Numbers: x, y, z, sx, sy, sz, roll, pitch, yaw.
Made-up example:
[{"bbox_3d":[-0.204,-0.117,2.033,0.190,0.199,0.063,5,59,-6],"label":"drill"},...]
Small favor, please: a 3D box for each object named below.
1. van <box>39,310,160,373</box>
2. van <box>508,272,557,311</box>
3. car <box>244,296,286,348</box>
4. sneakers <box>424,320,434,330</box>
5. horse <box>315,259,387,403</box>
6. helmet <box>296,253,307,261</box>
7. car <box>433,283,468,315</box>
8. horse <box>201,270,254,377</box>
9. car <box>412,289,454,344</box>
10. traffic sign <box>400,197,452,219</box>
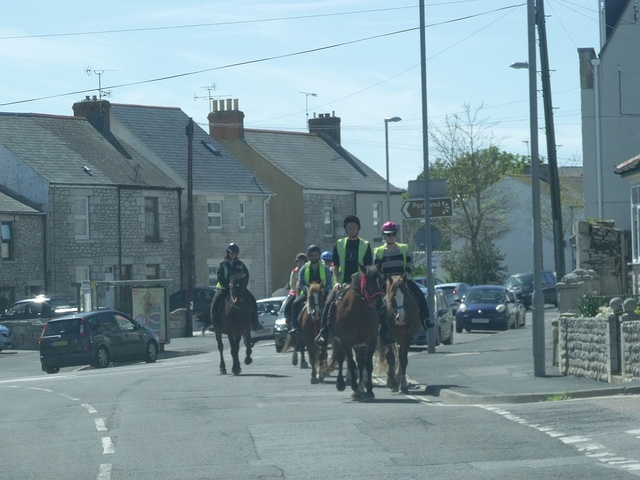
[{"bbox_3d":[-7.225,3.270,41.385,1.744,1.540,3.157,-3,3,35],"label":"van"},{"bbox_3d":[10.756,2.398,63.791,1.717,1.909,3.201,-7,-10,36],"label":"van"},{"bbox_3d":[-2.166,2.920,52.230,1.501,1.739,3.261,15,-9,1],"label":"car"},{"bbox_3d":[2.623,2.035,30.558,0.255,0.284,0.165,-3,-2,14],"label":"sneakers"},{"bbox_3d":[0.835,2.081,28.797,0.734,2.980,1.810,-2,2,-32],"label":"horse"},{"bbox_3d":[-0.487,0.473,34.392,0.248,0.151,0.188,3,-2,3],"label":"helmet"},{"bbox_3d":[6.231,2.827,59.421,1.171,1.160,2.504,-1,3,14],"label":"car"},{"bbox_3d":[-2.367,2.284,34.701,1.070,2.700,1.634,-1,2,-5],"label":"horse"},{"bbox_3d":[3.777,2.666,42.835,1.414,1.344,2.368,-1,-4,14],"label":"car"},{"bbox_3d":[3.274,-0.957,38.450,1.686,0.590,0.485,0,2,31],"label":"traffic sign"}]
